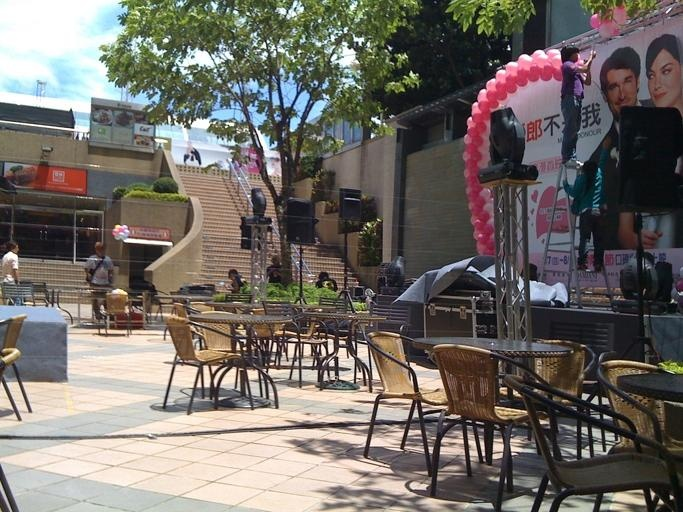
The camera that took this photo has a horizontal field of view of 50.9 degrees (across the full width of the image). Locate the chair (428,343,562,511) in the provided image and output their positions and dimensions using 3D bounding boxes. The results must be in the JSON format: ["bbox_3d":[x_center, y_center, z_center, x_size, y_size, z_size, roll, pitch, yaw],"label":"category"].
[{"bbox_3d":[1.144,1.266,5.685,0.780,1.188,0.815,3,0,-35],"label":"chair"}]

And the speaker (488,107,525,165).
[{"bbox_3d":[1.672,-1.209,7.319,0.278,0.659,0.307,-2,2,-22],"label":"speaker"}]

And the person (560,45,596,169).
[{"bbox_3d":[3.327,-2.211,10.205,0.367,1.906,0.431,2,5,-8],"label":"person"}]

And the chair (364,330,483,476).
[{"bbox_3d":[0.676,1.221,6.415,0.836,1.239,0.861,1,-2,1],"label":"chair"}]

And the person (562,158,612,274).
[{"bbox_3d":[3.531,-0.577,10.286,0.624,1.657,0.625,0,0,-2],"label":"person"}]

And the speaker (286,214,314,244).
[{"bbox_3d":[-0.863,-0.556,15.511,0.597,0.629,0.415,0,-4,-4],"label":"speaker"}]

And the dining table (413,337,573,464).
[{"bbox_3d":[1.123,1.261,6.086,1.159,1.227,1.045,3,1,-36],"label":"dining table"}]

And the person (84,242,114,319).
[{"bbox_3d":[-5.244,0.503,15.455,0.618,1.638,0.759,0,0,-26],"label":"person"}]

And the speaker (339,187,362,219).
[{"bbox_3d":[0.181,-1.128,15.730,0.299,0.656,0.668,-3,-5,40],"label":"speaker"}]
